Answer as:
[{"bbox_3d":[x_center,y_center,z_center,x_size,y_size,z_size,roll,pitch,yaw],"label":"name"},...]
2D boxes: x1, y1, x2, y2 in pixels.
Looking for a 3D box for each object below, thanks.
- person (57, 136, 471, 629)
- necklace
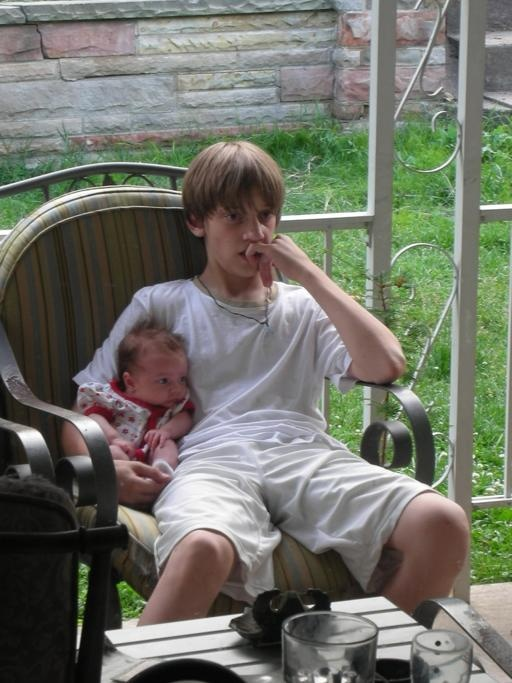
[{"bbox_3d":[0.012,0.008,1.507,0.676,0.839,0.852,-6,14,-16],"label":"person"},{"bbox_3d":[-0.050,-0.088,1.758,0.032,0.113,0.127,-30,-19,17],"label":"necklace"}]
